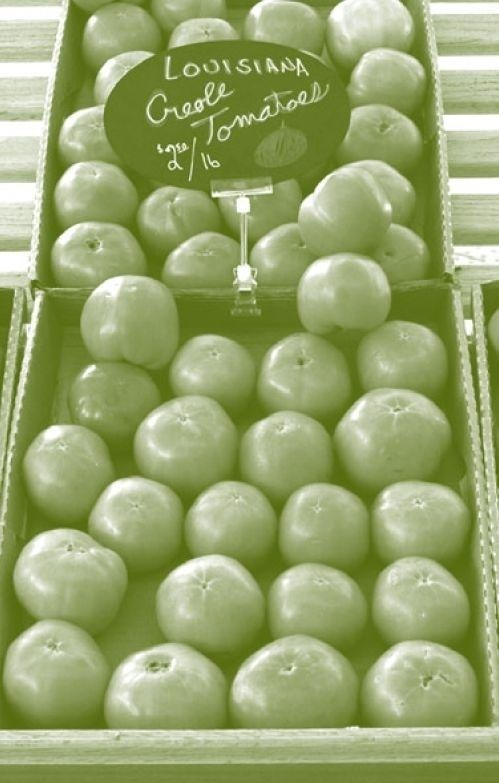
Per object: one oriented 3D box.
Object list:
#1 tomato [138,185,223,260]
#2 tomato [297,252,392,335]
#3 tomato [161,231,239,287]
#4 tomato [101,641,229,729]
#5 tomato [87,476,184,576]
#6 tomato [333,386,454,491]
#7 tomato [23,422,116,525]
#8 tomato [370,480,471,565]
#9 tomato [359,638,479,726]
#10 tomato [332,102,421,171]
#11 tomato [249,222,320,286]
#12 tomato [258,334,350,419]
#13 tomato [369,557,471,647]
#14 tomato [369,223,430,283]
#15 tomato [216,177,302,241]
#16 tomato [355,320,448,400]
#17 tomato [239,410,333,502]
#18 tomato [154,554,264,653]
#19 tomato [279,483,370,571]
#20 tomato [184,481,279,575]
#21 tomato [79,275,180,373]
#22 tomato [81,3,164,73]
[{"bbox_3d":[-0.201,-0.459,3.014,0.221,0.204,0.183,-10,64,5],"label":"tomato"},{"bbox_3d":[0.219,-0.213,2.552,0.211,0.209,0.157,-2,48,4],"label":"tomato"},{"bbox_3d":[-0.125,-0.340,2.781,0.179,0.119,0.147,17,66,5],"label":"tomato"},{"bbox_3d":[-0.157,0.551,2.012,0.222,0.111,0.184,-2,45,3],"label":"tomato"},{"bbox_3d":[-0.239,0.300,2.264,0.228,0.137,0.194,5,48,-5],"label":"tomato"},{"bbox_3d":[0.332,0.101,2.468,0.280,0.198,0.274,9,48,18],"label":"tomato"},{"bbox_3d":[-0.409,0.176,2.414,0.185,0.140,0.187,-14,46,-8],"label":"tomato"},{"bbox_3d":[0.359,0.277,2.280,0.204,0.105,0.181,1,46,6],"label":"tomato"},{"bbox_3d":[0.312,0.543,1.998,0.212,0.100,0.171,0,45,5],"label":"tomato"},{"bbox_3d":[0.352,-0.714,3.030,0.214,0.099,0.189,-19,74,-17],"label":"tomato"},{"bbox_3d":[0.086,-0.338,2.823,0.191,0.163,0.145,-4,78,0],"label":"tomato"},{"bbox_3d":[0.125,-0.036,2.523,0.226,0.194,0.187,-2,58,10],"label":"tomato"},{"bbox_3d":[0.329,0.416,2.185,0.201,0.163,0.188,-5,20,-11],"label":"tomato"},{"bbox_3d":[0.374,-0.335,2.791,0.173,0.082,0.148,-3,64,-15],"label":"tomato"},{"bbox_3d":[0.033,-0.499,2.906,0.196,0.095,0.191,-13,12,2],"label":"tomato"},{"bbox_3d":[0.375,-0.080,2.602,0.213,0.181,0.183,8,48,12],"label":"tomato"},{"bbox_3d":[0.105,0.136,2.433,0.226,0.191,0.188,3,51,13],"label":"tomato"},{"bbox_3d":[-0.070,0.405,2.161,0.190,0.127,0.167,7,59,26],"label":"tomato"},{"bbox_3d":[0.162,0.300,2.330,0.207,0.167,0.170,0,55,4],"label":"tomato"},{"bbox_3d":[-0.026,0.273,2.327,0.206,0.165,0.177,9,48,4],"label":"tomato"},{"bbox_3d":[-0.287,-0.161,2.628,0.267,0.212,0.248,-4,4,-4],"label":"tomato"},{"bbox_3d":[-0.400,-1.097,3.423,0.225,0.205,0.227,33,52,32],"label":"tomato"}]
